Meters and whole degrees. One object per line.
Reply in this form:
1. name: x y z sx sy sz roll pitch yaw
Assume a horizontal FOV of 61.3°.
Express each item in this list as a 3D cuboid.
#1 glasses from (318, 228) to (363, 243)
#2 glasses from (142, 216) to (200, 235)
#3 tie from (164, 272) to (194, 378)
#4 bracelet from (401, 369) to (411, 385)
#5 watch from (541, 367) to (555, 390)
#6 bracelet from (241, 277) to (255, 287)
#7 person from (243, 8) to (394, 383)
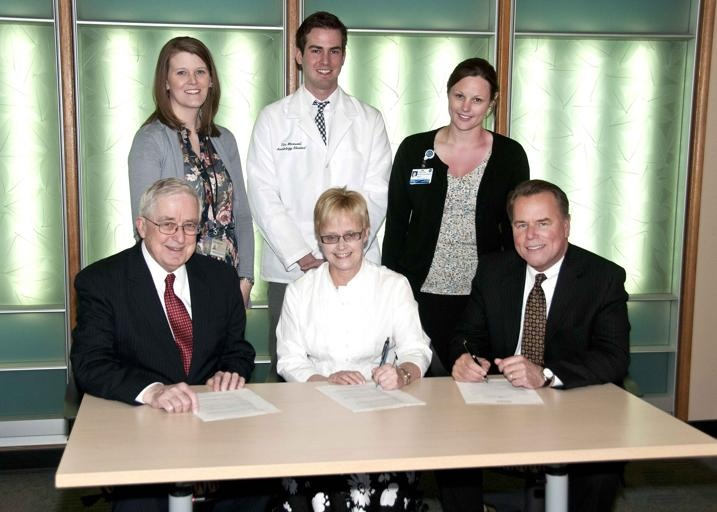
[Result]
1. glasses: -0.092 -0.097 3.146 0.211 0.068 0.050 -2 11 -6
2. glasses: -0.928 -0.148 2.970 0.257 0.093 0.105 -3 12 -12
3. tie: -0.888 0.344 3.046 0.102 0.573 0.091 -10 3 -20
4. bracelet: 0.225 0.573 2.896 0.047 0.061 0.032 -1 -12 -13
5. watch: 0.888 0.572 2.824 0.058 0.085 0.085 1 -9 -3
6. bracelet: -0.696 0.153 3.796 0.063 0.045 0.068 5 1 18
7. person: -0.209 -0.088 4.236 1.034 2.999 0.948 -8 25 -19
